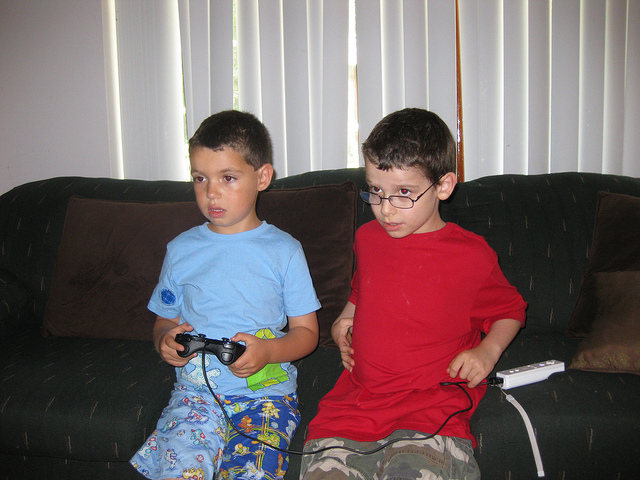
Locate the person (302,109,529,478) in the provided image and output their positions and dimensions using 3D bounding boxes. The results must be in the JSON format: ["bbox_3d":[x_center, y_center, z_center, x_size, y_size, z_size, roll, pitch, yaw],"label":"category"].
[{"bbox_3d":[0.318,0.182,1.852,0.653,1.148,0.599,5,13,19],"label":"person"}]

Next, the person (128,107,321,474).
[{"bbox_3d":[-0.299,0.134,1.994,0.660,1.105,0.715,-2,12,-9],"label":"person"}]

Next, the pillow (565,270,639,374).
[{"bbox_3d":[1.001,0.262,2.038,0.091,0.345,0.303,22,-15,-33],"label":"pillow"}]

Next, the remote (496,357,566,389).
[{"bbox_3d":[0.733,0.465,2.008,0.238,0.078,0.065,-11,16,-11],"label":"remote"}]
